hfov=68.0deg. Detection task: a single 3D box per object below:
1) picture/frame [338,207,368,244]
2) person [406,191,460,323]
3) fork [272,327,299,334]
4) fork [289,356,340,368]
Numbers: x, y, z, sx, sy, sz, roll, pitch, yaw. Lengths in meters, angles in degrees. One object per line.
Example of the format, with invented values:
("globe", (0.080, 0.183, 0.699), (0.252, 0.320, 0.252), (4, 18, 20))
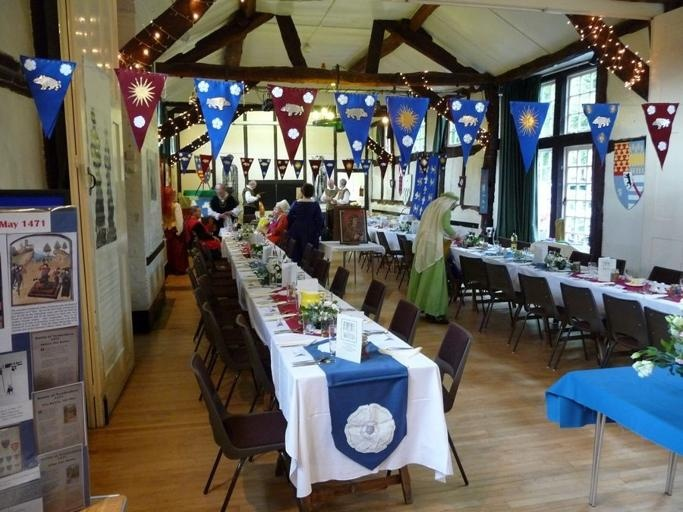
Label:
("picture/frame", (0.175, -0.541, 9.036), (0.566, 0.796, 0.074), (-1, 1, -15))
("person", (1.355, -0.021, 7.354), (0.630, 1.833, 0.682), (-2, 31, -6))
("fork", (-0.434, 0.576, 3.881), (0.198, 0.006, 0.066), (-2, 11, -7))
("fork", (-0.181, 0.686, 3.275), (0.317, 0.051, 0.092), (-4, 11, -19))
